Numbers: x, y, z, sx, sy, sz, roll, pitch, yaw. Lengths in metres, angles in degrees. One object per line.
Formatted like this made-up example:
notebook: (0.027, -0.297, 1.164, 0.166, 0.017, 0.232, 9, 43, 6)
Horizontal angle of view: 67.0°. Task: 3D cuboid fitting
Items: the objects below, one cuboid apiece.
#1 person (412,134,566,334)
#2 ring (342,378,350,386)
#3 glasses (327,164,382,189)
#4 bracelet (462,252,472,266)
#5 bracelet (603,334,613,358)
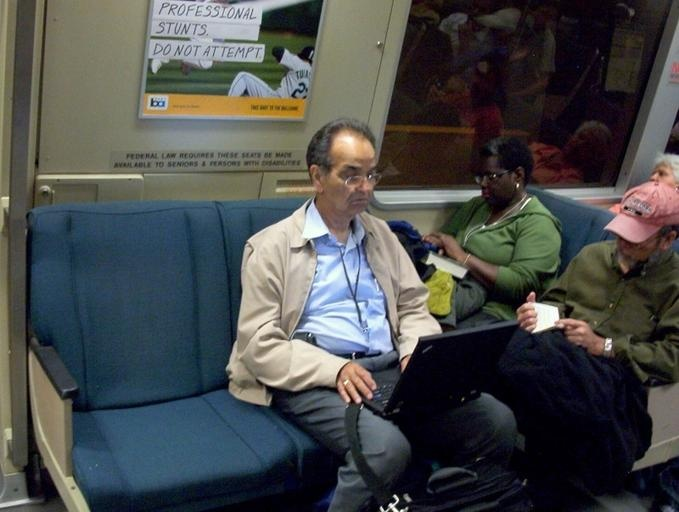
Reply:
person: (1.016, -0.189, 3.533, 1.059, 1.275, 0.994, -1, 7, -17)
ring: (0.026, 0.489, 1.985, 0.021, 0.020, 0.015, -4, -20, -3)
glasses: (0.090, -0.333, 2.170, 0.208, 0.081, 0.072, -3, 15, -34)
bracelet: (0.751, 0.021, 3.027, 0.014, 0.058, 0.060, 29, -10, -13)
bracelet: (1.228, 0.420, 2.344, 0.042, 0.075, 0.018, 1, -8, 5)
